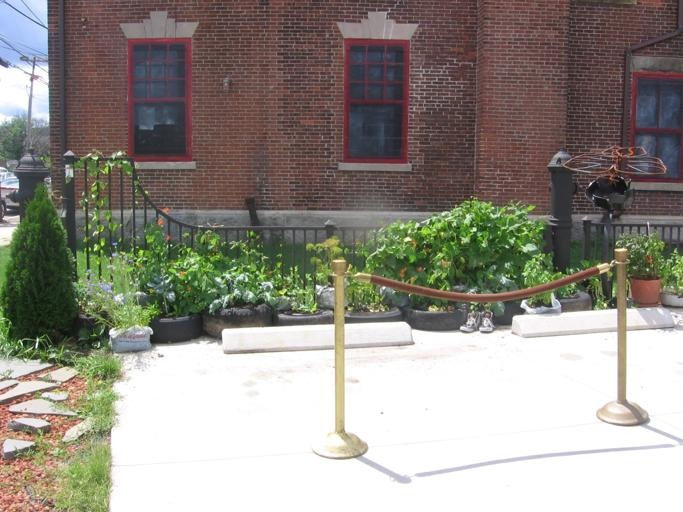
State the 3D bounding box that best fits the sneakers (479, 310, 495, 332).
[{"bbox_3d":[1.981,0.916,11.028,0.122,0.227,0.363,-1,-5,14],"label":"sneakers"}]
